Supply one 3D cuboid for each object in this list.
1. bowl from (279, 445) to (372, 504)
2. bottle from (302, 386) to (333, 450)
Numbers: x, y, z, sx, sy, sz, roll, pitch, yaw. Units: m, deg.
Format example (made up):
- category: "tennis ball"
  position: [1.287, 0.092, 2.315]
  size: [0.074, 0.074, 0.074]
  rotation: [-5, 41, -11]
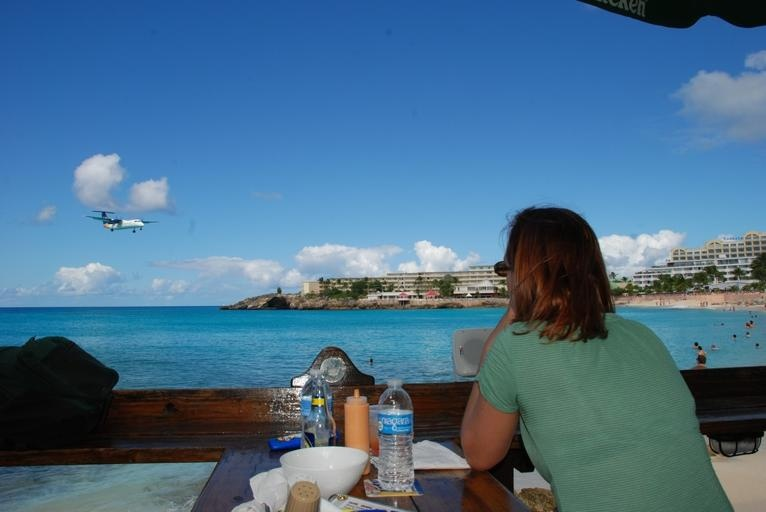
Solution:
- category: "bowl"
  position: [-0.217, 0.818, 1.964]
  size: [0.324, 0.171, 0.169]
  rotation: [0, -4, -14]
- category: "bottle"
  position: [-0.292, 0.713, 2.352]
  size: [0.143, 0.258, 0.117]
  rotation: [0, -4, -10]
